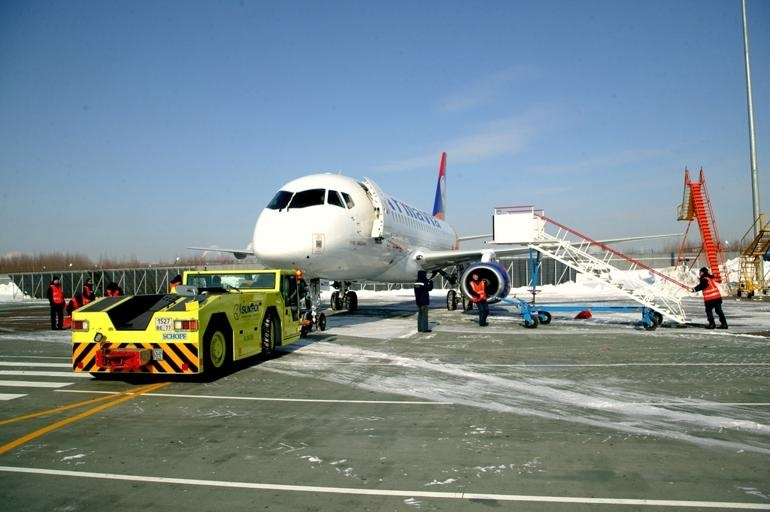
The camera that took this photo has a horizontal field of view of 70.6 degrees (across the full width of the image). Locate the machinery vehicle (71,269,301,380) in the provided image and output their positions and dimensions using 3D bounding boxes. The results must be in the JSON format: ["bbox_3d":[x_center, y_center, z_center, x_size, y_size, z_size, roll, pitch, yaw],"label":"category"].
[{"bbox_3d":[-3.836,1.506,12.521,2.802,1.377,4.275,0,-1,24],"label":"machinery vehicle"}]

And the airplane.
[{"bbox_3d":[2.097,-0.104,21.867,15.095,5.834,12.766,0,-3,-40],"label":"airplane"}]
